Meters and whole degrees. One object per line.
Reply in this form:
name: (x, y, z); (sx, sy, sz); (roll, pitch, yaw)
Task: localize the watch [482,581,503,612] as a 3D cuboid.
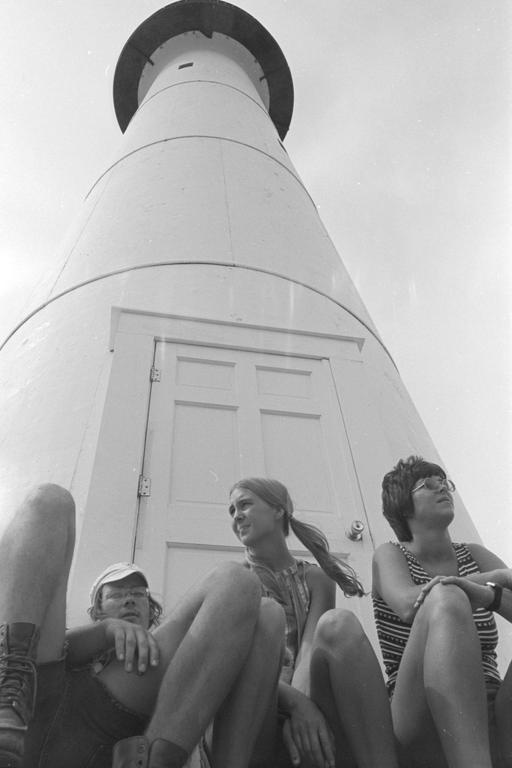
watch: (0.535, 0.474, 1.254); (0.038, 0.067, 0.058); (-5, -22, 28)
